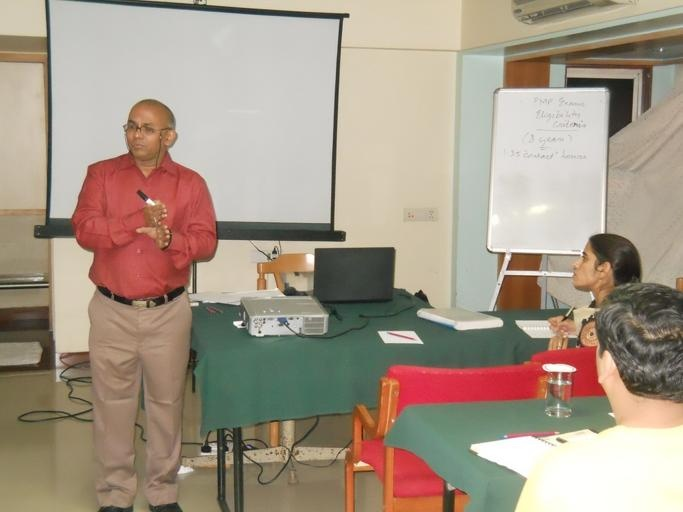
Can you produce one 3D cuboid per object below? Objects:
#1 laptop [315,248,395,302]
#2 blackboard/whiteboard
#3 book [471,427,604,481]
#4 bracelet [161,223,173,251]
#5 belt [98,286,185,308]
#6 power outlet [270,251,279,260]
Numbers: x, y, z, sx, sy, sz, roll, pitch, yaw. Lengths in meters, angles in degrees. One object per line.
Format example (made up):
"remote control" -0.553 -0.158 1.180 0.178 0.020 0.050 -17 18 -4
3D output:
"laptop" 0.092 0.089 3.706 0.481 0.330 0.381 -1 9 -1
"blackboard/whiteboard" 1.424 -0.586 4.278 1.080 1.537 0.097 2 2 11
"book" 0.509 0.525 1.653 0.227 0.042 0.228 -7 5 -18
"bracelet" -0.754 -0.078 2.706 0.065 0.089 0.030 -3 7 -41
"belt" -0.904 0.180 2.852 0.372 0.088 0.101 -2 11 -14
"power outlet" -0.459 -0.005 4.336 0.055 0.037 0.075 0 6 -6
